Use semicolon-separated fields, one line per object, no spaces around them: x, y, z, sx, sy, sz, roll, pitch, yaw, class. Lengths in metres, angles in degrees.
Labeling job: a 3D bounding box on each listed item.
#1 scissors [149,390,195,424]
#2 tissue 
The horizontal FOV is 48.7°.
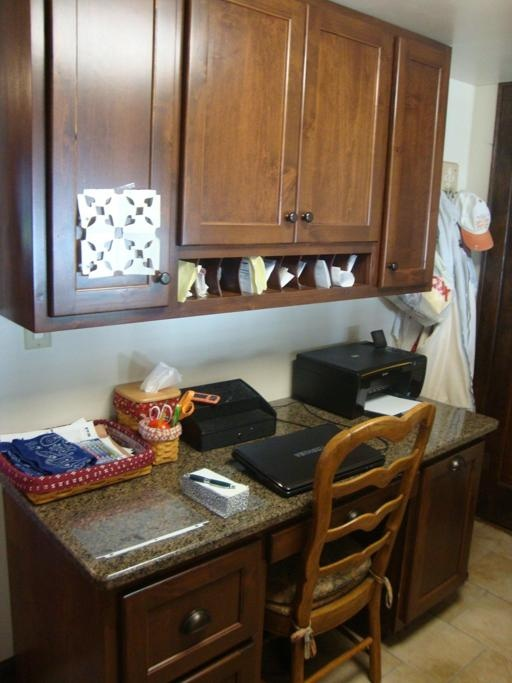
-0.239;0.186;1.568;0.095;0.021;0.092;8;14;42;scissors
-0.301;0.140;1.641;0.173;0.182;0.149;-8;22;-39;tissue 
